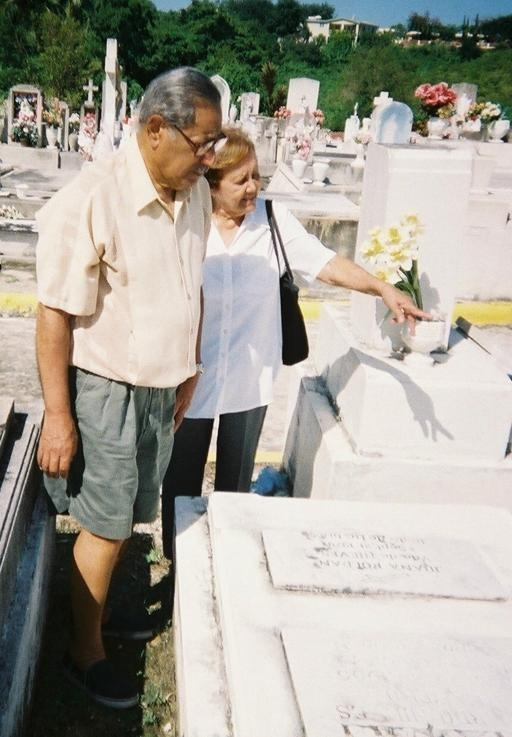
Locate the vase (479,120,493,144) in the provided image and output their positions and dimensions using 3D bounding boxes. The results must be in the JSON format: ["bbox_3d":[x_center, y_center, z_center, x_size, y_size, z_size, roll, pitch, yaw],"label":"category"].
[{"bbox_3d":[7.118,-7.406,17.770,0.445,0.587,1.948,9,19,19],"label":"vase"}]

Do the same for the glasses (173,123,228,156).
[{"bbox_3d":[-0.122,-0.522,1.335,0.076,0.023,0.072,51,36,11],"label":"glasses"}]

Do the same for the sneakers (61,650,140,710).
[{"bbox_3d":[-0.449,0.864,1.661,0.237,0.097,0.094,24,35,27],"label":"sneakers"}]

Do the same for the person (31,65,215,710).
[{"bbox_3d":[-0.342,0.089,1.549,0.470,1.669,0.378,-3,18,-21],"label":"person"}]

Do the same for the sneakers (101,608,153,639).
[{"bbox_3d":[-0.417,0.835,1.872,0.175,0.089,0.075,4,-5,-5],"label":"sneakers"}]

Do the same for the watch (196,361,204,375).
[{"bbox_3d":[-0.198,-0.002,2.043,0.028,0.040,0.015,-2,5,-41],"label":"watch"}]

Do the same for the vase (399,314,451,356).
[{"bbox_3d":[0.701,-0.144,2.388,0.167,0.157,0.187,0,13,2],"label":"vase"}]
